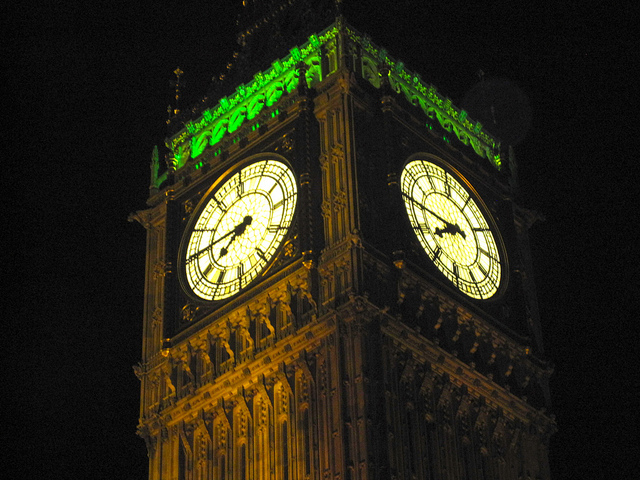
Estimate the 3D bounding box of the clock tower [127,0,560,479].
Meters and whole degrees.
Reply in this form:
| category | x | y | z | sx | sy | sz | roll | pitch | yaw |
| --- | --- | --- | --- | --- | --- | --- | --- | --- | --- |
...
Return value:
| category | x | y | z | sx | sy | sz | roll | pitch | yaw |
| --- | --- | --- | --- | --- | --- | --- | --- | --- | --- |
| clock tower | 0.590 | 1.462 | 58.841 | 7.963 | 20.265 | 7.786 | -20 | -30 | 34 |
